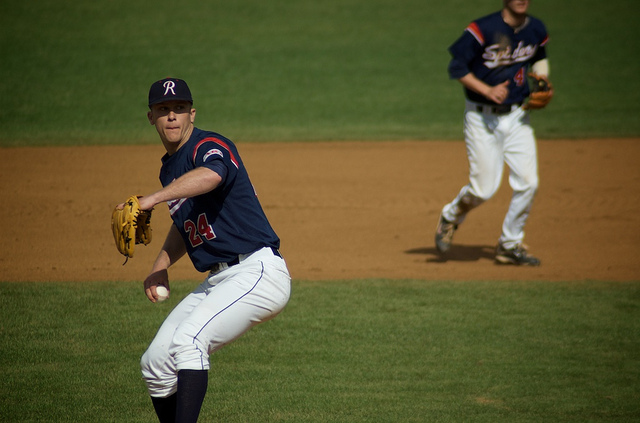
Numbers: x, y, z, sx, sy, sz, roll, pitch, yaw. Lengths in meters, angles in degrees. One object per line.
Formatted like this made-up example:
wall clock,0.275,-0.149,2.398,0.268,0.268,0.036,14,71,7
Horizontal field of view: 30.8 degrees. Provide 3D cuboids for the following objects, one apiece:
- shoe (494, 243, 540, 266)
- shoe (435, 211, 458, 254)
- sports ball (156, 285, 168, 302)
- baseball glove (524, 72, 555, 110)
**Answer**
shoe,3.636,0.836,21.784,0.880,0.423,0.339,2,4,3
shoe,2.307,0.468,21.948,0.296,0.855,0.382,10,-4,-16
sports ball,-2.562,1.374,19.138,0.220,0.218,0.140,-22,-17,20
baseball glove,4.046,-2.182,21.515,0.467,0.616,0.247,2,10,4
